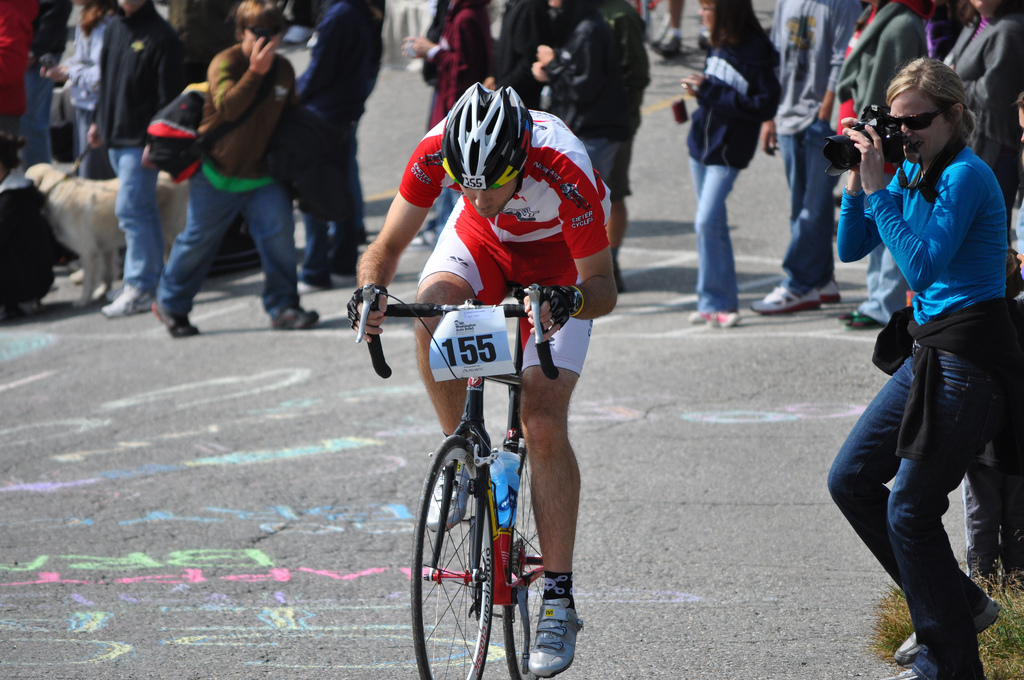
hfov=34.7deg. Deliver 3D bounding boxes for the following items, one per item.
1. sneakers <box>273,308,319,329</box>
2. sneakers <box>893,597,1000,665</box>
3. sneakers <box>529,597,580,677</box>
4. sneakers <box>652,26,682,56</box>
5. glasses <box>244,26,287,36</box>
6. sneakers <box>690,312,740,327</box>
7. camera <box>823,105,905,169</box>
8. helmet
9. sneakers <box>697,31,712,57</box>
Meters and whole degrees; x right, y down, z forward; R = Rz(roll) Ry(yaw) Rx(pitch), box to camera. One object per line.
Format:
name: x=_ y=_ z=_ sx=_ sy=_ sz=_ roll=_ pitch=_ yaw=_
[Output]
sneakers: x=-1.660 y=-0.162 z=12.475 sx=0.309 sy=0.115 sz=0.144 roll=0 pitch=2 yaw=-14
sneakers: x=2.332 y=1.539 z=8.683 sx=0.438 sy=0.176 sz=0.147 roll=-42 pitch=25 yaw=7
sneakers: x=0.230 y=1.609 z=8.880 sx=0.315 sy=0.426 sz=0.295 roll=-5 pitch=11 yaw=-2
sneakers: x=1.250 y=-2.324 z=12.964 sx=0.109 sy=0.189 sz=0.307 roll=-5 pitch=20 yaw=-40
glasses: x=-1.727 y=-2.138 z=11.492 sx=0.252 sy=0.081 sz=0.070 roll=-13 pitch=14 yaw=-42
sneakers: x=1.583 y=-0.158 z=12.784 sx=0.420 sy=0.154 sz=0.134 roll=-1 pitch=2 yaw=24
camera: x=1.883 y=-1.065 z=8.785 sx=0.441 sy=0.273 sz=0.449 roll=-2 pitch=6 yaw=-15
helmet: x=-0.145 y=-1.096 z=8.693 sx=0.458 sy=0.564 sz=0.357 roll=7 pitch=-18 yaw=8
sneakers: x=1.494 y=-2.279 z=12.742 sx=0.075 sy=0.196 sz=0.092 roll=-8 pitch=-9 yaw=3
